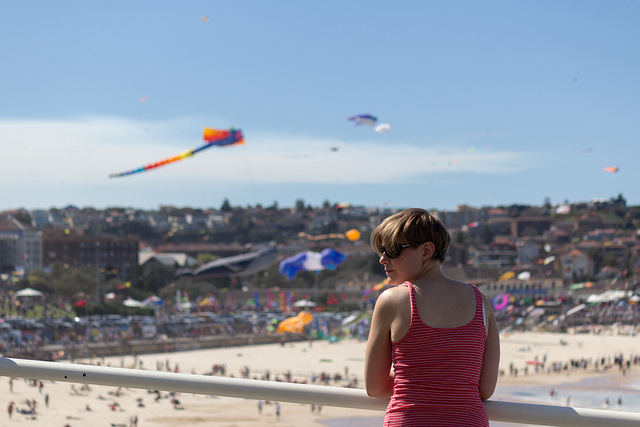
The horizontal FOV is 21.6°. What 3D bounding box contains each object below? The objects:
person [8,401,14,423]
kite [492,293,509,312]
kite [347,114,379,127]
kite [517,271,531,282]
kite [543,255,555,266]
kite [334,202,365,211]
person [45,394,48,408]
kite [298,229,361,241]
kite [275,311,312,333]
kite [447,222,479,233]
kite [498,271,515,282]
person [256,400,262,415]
[{"bbox_3d":[-27.036,17.289,146.623,0.496,1.688,1.028,-1,-4,-11],"label":"person"},{"bbox_3d":[17.463,8.681,162.427,2.065,0.525,2.230,7,35,25],"label":"kite"},{"bbox_3d":[3.407,-7.413,133.932,2.039,0.966,2.734,-1,-4,-1],"label":"kite"},{"bbox_3d":[20.234,6.289,166.475,0.592,1.016,1.639,2,-5,-34],"label":"kite"},{"bbox_3d":[22.235,4.623,163.781,1.179,0.524,0.571,-24,10,2],"label":"kite"},{"bbox_3d":[2.959,-0.628,179.654,2.842,0.826,0.966,-1,-4,-5],"label":"kite"},{"bbox_3d":[-23.933,16.260,146.790,0.206,0.891,0.250,0,-14,-12],"label":"person"},{"bbox_3d":[0.719,2.375,176.237,6.899,1.314,1.228,-1,4,-7],"label":"kite"},{"bbox_3d":[-2.424,10.796,163.512,1.284,1.969,4.654,2,4,37],"label":"kite"},{"bbox_3d":[14.733,1.507,170.827,2.950,0.909,1.689,-3,-4,22],"label":"kite"},{"bbox_3d":[18.541,6.355,167.745,1.872,1.050,0.590,-5,-6,45],"label":"kite"},{"bbox_3d":[-5.461,17.271,149.428,0.518,1.158,1.196,-1,-4,-3],"label":"person"}]
